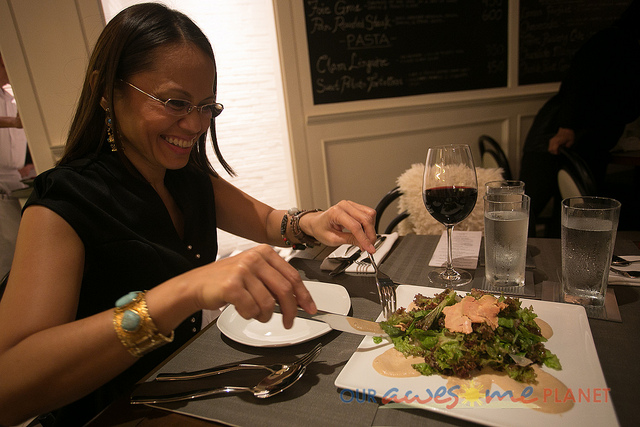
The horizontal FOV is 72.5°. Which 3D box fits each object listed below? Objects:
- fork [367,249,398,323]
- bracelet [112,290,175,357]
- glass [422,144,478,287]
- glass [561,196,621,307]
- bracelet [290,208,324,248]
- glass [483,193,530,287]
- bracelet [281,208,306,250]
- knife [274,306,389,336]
[{"bbox_3d":[0.214,0.228,1.413,0.058,0.444,0.045,-17,59,4],"label":"fork"},{"bbox_3d":[-0.508,0.296,1.297,0.102,0.146,0.180,-43,11,13],"label":"bracelet"},{"bbox_3d":[0.464,-0.015,1.574,0.185,0.446,0.367,2,21,19],"label":"glass"},{"bbox_3d":[0.848,0.120,1.380,0.160,0.312,0.194,3,22,23],"label":"glass"},{"bbox_3d":[-0.078,0.071,1.902,0.133,0.150,0.063,-40,7,-30],"label":"bracelet"},{"bbox_3d":[0.625,0.094,1.476,0.135,0.289,0.124,3,22,21],"label":"glass"},{"bbox_3d":[-0.140,0.067,1.901,0.043,0.157,0.157,-6,-5,33],"label":"bracelet"},{"bbox_3d":[0.045,0.308,1.278,0.461,0.052,0.036,24,-7,-35],"label":"knife"}]
